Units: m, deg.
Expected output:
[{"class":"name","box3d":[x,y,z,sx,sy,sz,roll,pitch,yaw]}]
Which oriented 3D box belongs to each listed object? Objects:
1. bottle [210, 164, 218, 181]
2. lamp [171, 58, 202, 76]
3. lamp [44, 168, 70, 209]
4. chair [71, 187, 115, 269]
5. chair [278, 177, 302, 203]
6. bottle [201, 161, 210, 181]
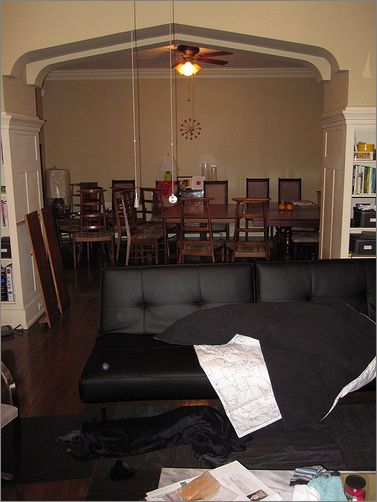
[{"class":"bottle","box3d":[0.507,-1.593,7.835,0.134,0.318,0.280,-2,8,7]},{"class":"lamp","box3d":[-0.024,-2.225,4.672,0.225,0.180,0.373,0,9,20]},{"class":"lamp","box3d":[-2.121,-1.037,6.241,0.369,0.543,0.258,-5,8,-14]},{"class":"chair","box3d":[-1.573,-0.409,6.202,0.633,1.159,1.843,-5,8,-14]},{"class":"chair","box3d":[1.851,-1.148,7.220,0.420,0.405,0.319,2,9,31]},{"class":"bottle","box3d":[0.356,-1.625,7.843,0.208,0.379,0.237,-3,8,4]}]
